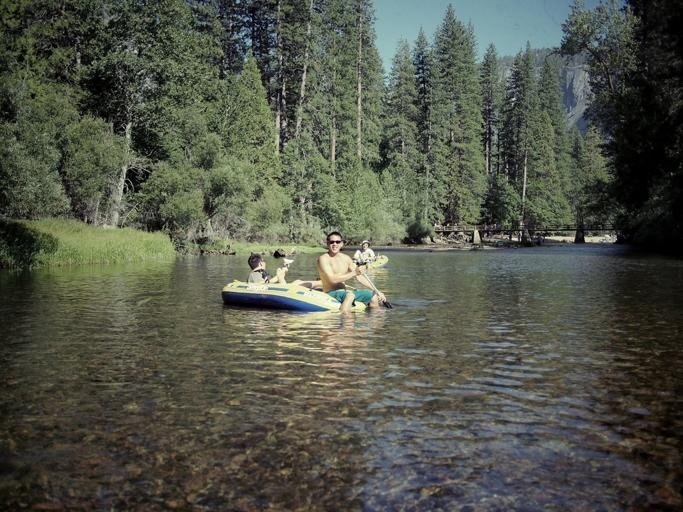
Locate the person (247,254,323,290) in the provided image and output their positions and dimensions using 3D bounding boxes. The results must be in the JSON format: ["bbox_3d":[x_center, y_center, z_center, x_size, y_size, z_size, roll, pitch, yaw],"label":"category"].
[{"bbox_3d":[-1.585,0.662,15.844,2.158,1.135,0.919,9,0,-7],"label":"person"}]

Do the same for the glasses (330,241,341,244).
[{"bbox_3d":[-0.151,-0.376,13.859,0.255,0.089,0.150,1,2,-2],"label":"glasses"}]
